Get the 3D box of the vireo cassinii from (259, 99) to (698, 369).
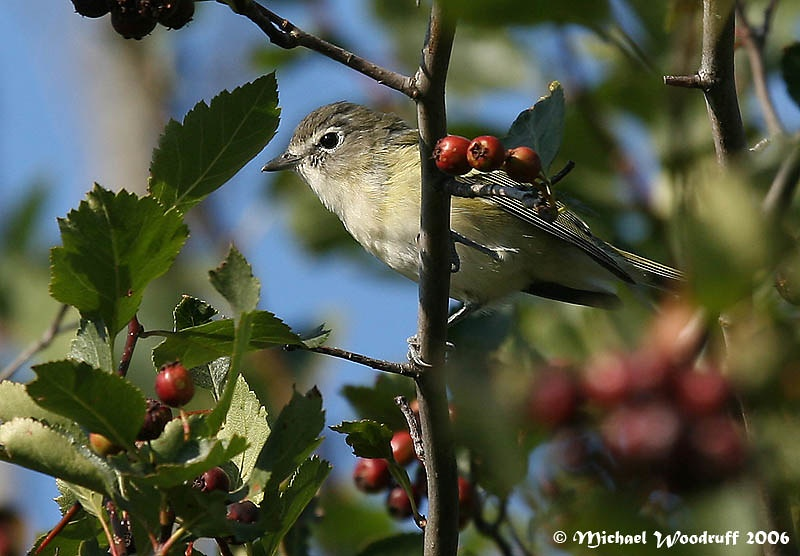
[{"bbox_3d":[0.057,-0.411,5.686,2.742,1.369,0.871,2,-4,6],"label":"vireo cassinii"}]
